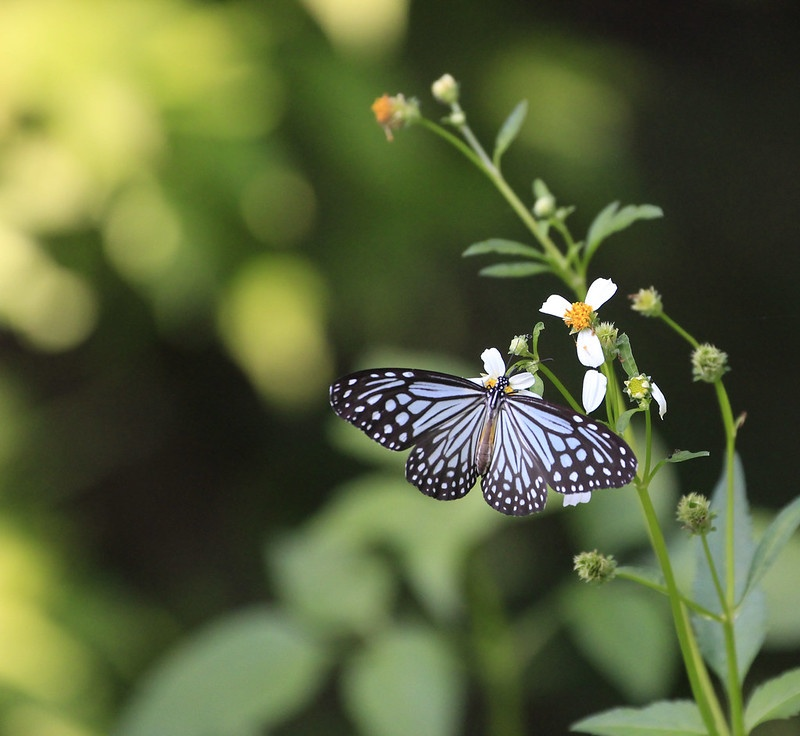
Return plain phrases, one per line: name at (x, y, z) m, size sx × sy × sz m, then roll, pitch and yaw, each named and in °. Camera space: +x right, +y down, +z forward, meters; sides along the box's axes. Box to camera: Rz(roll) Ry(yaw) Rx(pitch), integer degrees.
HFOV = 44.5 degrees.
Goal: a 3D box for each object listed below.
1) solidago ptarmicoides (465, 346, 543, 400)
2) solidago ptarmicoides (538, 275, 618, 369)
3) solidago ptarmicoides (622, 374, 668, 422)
solidago ptarmicoides at (0.169, 0.013, 1.567) m, size 0.100 × 0.074 × 0.028 m, roll 32°, pitch 33°, yaw 14°
solidago ptarmicoides at (0.281, -0.061, 1.540) m, size 0.110 × 0.140 × 0.084 m, roll 8°, pitch 25°, yaw 37°
solidago ptarmicoides at (0.379, 0.039, 1.523) m, size 0.057 × 0.088 × 0.127 m, roll -4°, pitch 22°, yaw 13°
